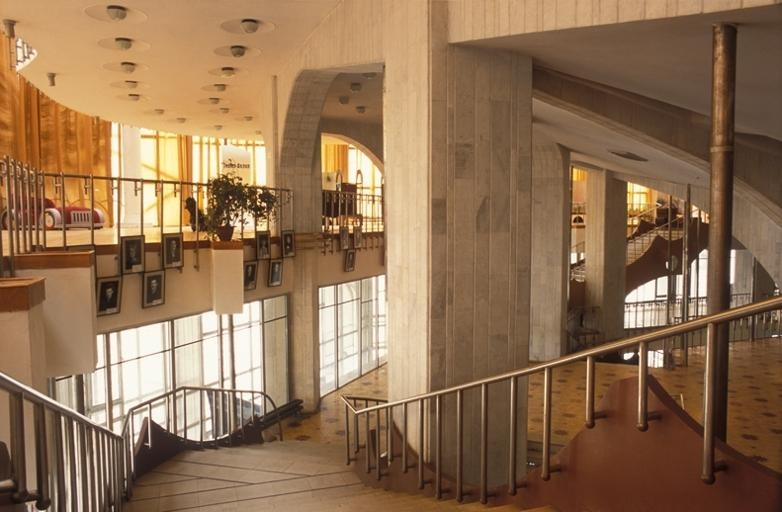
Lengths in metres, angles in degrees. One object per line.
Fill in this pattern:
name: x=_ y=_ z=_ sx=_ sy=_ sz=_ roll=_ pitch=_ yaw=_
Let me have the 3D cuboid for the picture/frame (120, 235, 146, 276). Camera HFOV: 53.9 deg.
picture/frame: x=-4.352 y=-0.018 z=12.881 sx=0.157 sy=0.627 sz=0.480 roll=1 pitch=2 yaw=27

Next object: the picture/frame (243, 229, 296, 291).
picture/frame: x=-2.518 y=0.107 z=15.675 sx=0.400 sy=1.215 sz=1.696 roll=1 pitch=2 yaw=19

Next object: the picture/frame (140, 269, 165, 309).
picture/frame: x=-4.179 y=0.561 z=13.290 sx=0.080 sy=0.855 sz=0.612 roll=3 pitch=5 yaw=31

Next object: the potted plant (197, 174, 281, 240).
potted plant: x=-2.852 y=-0.865 z=14.400 sx=0.881 sy=1.186 sz=1.225 roll=1 pitch=2 yaw=23

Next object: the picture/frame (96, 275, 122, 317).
picture/frame: x=-4.697 y=0.648 z=12.630 sx=0.081 sy=0.875 sz=0.611 roll=6 pitch=7 yaw=31
